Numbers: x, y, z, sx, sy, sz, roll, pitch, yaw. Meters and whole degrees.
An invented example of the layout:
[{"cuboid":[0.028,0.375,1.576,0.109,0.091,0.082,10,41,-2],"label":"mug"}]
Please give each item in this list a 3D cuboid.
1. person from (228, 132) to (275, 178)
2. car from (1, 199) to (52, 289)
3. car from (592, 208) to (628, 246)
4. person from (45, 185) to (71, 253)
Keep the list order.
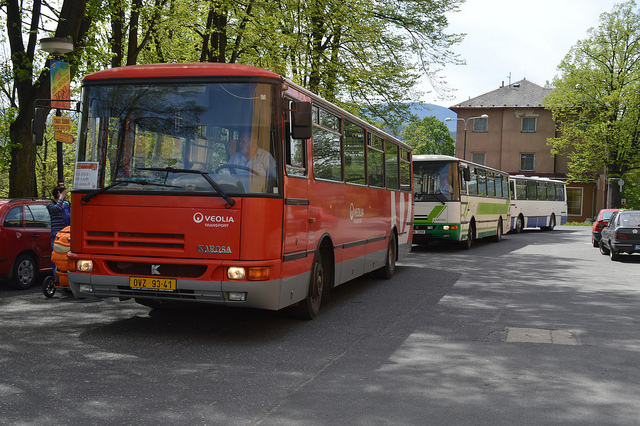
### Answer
[{"cuboid":[-1.076,-0.868,7.990,0.891,0.742,0.458,0,6,9],"label":"person"},{"cuboid":[-7.351,0.732,12.651,0.662,2.114,1.402,3,3,29],"label":"car"},{"cuboid":[15.880,0.650,27.524,2.089,1.885,3.898,1,6,29],"label":"car"},{"cuboid":[-6.089,0.070,11.889,0.432,1.378,0.919,0,3,-28],"label":"person"}]
